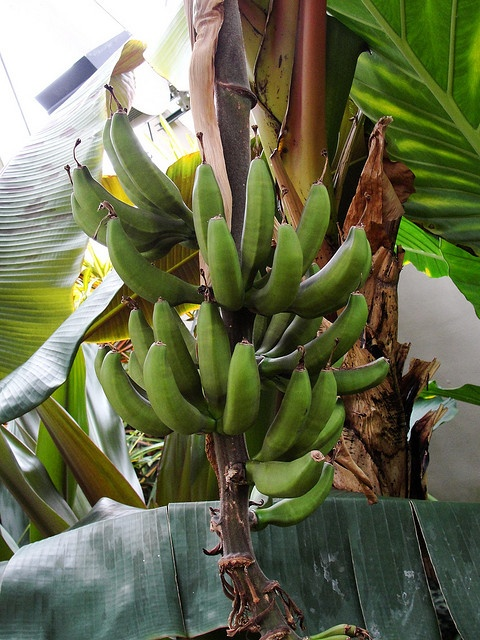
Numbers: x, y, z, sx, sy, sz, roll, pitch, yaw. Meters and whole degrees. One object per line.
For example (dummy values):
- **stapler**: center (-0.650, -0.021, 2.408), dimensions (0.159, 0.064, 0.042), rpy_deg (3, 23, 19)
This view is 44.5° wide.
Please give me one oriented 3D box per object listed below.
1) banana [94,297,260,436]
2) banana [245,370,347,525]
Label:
- **banana**: center (-0.074, 0.072, 0.697), dimensions (0.177, 0.154, 0.135), rpy_deg (-34, 56, 57)
- **banana**: center (0.072, 0.193, 0.712), dimensions (0.070, 0.254, 0.098), rpy_deg (12, 36, -6)
